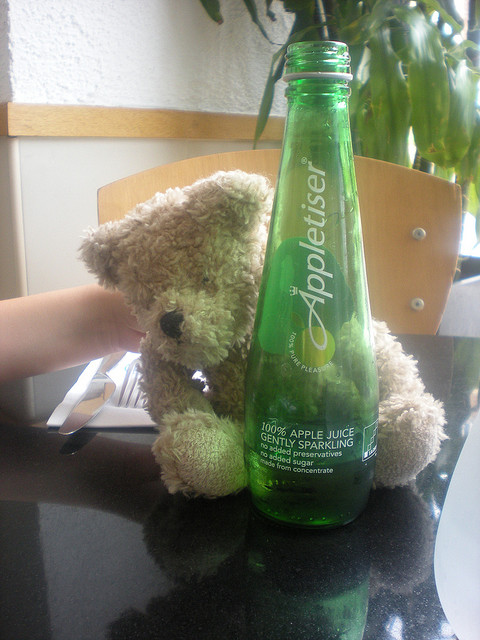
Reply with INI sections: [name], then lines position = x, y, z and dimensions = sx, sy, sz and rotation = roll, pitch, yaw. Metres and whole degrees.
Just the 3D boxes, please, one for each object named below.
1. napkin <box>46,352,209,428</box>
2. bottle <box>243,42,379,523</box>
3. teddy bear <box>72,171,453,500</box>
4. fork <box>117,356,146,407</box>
[napkin]
position = -0.082, 0.043, 0.426
dimensions = 0.069, 0.014, 0.126
rotation = 4, 31, 5
[bottle]
position = 0.039, -0.010, 0.255
dimensions = 0.069, 0.217, 0.081
rotation = 8, 25, 15
[teddy bear]
position = 0.024, 0.004, 0.385
dimensions = 0.249, 0.213, 0.187
rotation = -1, 3, -9
[fork]
position = -0.085, 0.045, 0.444
dimensions = 0.019, 0.003, 0.066
rotation = -4, 39, 12
